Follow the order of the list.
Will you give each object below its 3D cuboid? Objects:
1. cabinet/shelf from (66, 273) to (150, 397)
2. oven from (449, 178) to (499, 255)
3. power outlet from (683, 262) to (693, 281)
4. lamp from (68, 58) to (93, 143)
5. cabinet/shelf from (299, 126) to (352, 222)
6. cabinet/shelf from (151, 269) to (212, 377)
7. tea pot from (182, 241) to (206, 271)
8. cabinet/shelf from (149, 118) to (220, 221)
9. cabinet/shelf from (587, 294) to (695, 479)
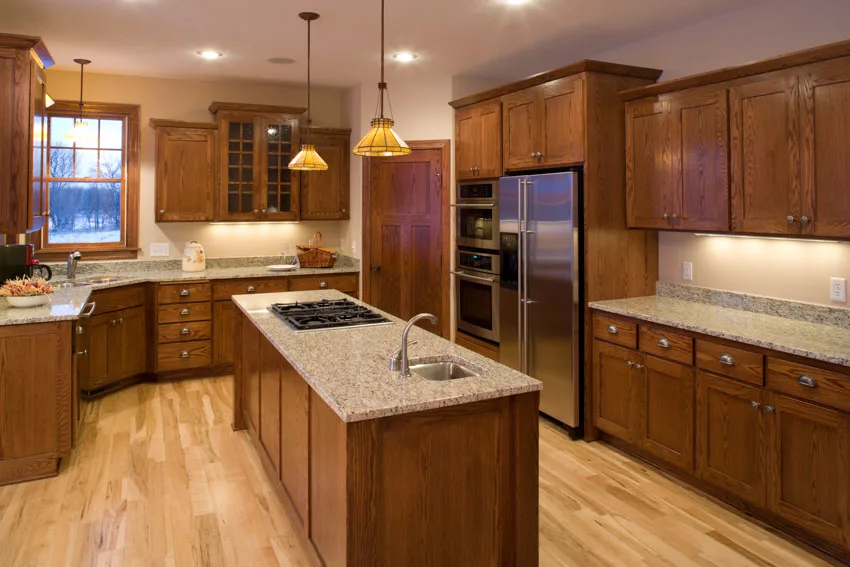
[{"bbox_3d":[-3.336,0.501,6.126,0.531,1.116,0.762,7,7,17],"label":"cabinet/shelf"},{"bbox_3d":[0.647,-0.694,6.209,0.525,0.709,0.568,-7,9,-40],"label":"oven"},{"bbox_3d":[2.231,-0.109,5.135,0.017,0.157,0.100,-7,13,-33],"label":"power outlet"},{"bbox_3d":[-3.669,-1.950,6.437,0.298,0.837,0.317,2,11,-27],"label":"lamp"},{"bbox_3d":[-1.250,-1.365,7.347,0.646,1.138,0.591,0,25,-11],"label":"cabinet/shelf"},{"bbox_3d":[-2.761,0.427,6.733,0.758,1.037,0.713,13,14,40],"label":"cabinet/shelf"},{"bbox_3d":[-2.589,-0.286,6.747,0.250,0.327,0.329,0,-1,-24],"label":"tea pot"},{"bbox_3d":[-2.717,-1.257,6.782,0.729,1.089,0.380,-4,19,-32],"label":"cabinet/shelf"},{"bbox_3d":[1.895,0.790,4.861,0.583,1.197,1.053,-6,10,-26],"label":"cabinet/shelf"}]
